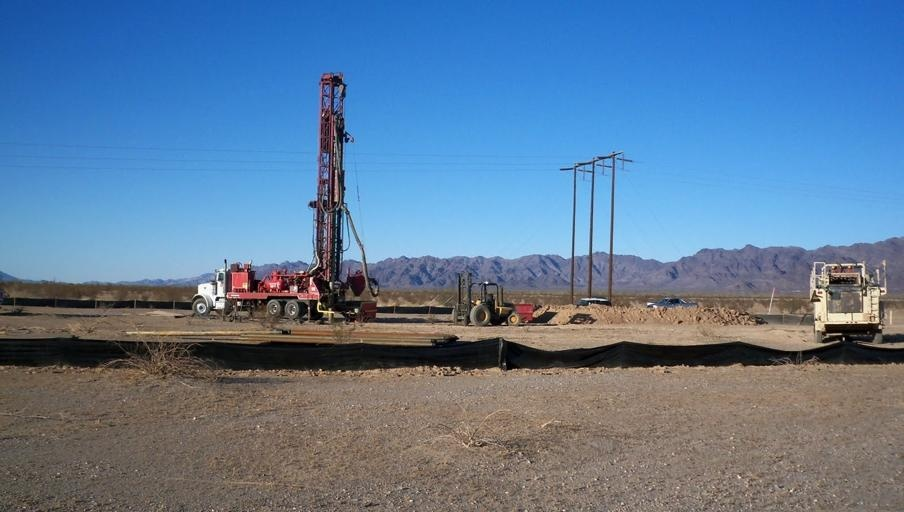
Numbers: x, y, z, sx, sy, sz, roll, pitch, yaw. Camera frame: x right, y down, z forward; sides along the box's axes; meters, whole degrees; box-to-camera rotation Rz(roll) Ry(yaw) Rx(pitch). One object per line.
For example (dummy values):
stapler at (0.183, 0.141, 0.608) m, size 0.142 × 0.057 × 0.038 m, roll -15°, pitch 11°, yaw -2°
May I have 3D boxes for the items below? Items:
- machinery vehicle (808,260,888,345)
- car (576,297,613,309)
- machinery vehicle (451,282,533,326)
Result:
machinery vehicle at (18.777, 1.944, 33.406) m, size 3.132 × 3.372 × 5.777 m, roll -2°, pitch -1°, yaw 22°
car at (11.261, 3.533, 54.922) m, size 1.578 × 1.160 × 2.386 m, roll 2°, pitch -10°, yaw -22°
machinery vehicle at (2.510, 2.624, 40.624) m, size 4.445 × 2.546 × 2.267 m, roll 2°, pitch 3°, yaw -21°
